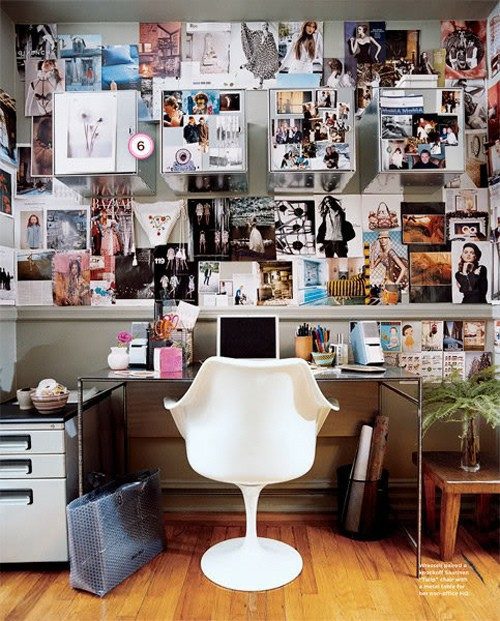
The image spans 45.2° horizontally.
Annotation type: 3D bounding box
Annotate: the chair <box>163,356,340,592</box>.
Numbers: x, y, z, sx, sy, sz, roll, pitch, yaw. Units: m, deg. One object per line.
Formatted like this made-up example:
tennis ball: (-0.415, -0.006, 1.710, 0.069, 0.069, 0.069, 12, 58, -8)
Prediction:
chair: (-0.007, 0.592, 2.430, 0.664, 0.942, 0.656, 1, 9, 2)

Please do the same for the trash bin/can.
trash bin/can: (0.503, 0.862, 2.674, 0.248, 0.266, 0.219, 1, -5, 0)

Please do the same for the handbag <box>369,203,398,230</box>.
handbag: (0.670, -0.466, 2.978, 0.113, 0.122, 0.045, -1, 9, 3)

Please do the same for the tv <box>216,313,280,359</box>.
tv: (-0.010, 0.118, 2.739, 0.276, 0.182, 0.080, 1, 9, 5)

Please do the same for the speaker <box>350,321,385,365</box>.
speaker: (0.534, 0.150, 2.700, 0.110, 0.227, 0.212, -2, -1, -5)

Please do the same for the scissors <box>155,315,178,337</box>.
scissors: (-0.388, 0.071, 2.750, 0.072, 0.108, 0.040, 9, -19, 2)

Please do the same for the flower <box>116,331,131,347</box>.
flower: (-0.597, 0.128, 2.803, 0.074, 0.064, 0.084, 4, 4, 6)

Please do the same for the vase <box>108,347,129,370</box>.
vase: (-0.594, 0.211, 2.735, 0.089, 0.100, 0.093, 2, 3, 6)

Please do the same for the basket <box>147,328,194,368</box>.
basket: (-0.375, 0.181, 2.827, 0.163, 0.184, 0.177, 0, -5, 5)

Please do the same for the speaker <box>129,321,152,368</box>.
speaker: (-0.517, 0.151, 2.802, 0.097, 0.185, 0.175, -2, 10, -9)

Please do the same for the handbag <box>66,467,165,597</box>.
handbag: (-0.516, 0.865, 2.415, 0.182, 0.353, 0.435, 7, 12, 39)

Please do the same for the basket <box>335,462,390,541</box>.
basket: (0.483, 0.862, 2.702, 0.232, 0.266, 0.252, 0, -7, 0)
